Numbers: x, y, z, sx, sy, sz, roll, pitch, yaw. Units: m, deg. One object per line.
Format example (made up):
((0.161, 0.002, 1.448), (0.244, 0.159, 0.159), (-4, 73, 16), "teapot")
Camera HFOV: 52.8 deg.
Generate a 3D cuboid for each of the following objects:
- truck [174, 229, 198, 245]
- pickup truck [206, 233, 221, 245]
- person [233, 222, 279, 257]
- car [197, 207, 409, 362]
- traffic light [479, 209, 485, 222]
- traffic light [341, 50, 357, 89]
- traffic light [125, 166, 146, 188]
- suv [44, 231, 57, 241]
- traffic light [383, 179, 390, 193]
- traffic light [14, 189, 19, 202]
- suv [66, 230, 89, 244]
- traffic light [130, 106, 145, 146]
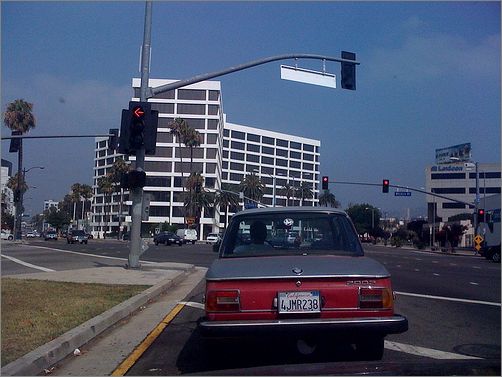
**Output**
((-8.326, 6.322, 65.326), (1.522, 1.496, 2.709), (1, 4, -25), "truck")
((-5.093, 6.705, 67.403), (1.569, 1.246, 3.452), (0, -7, 5), "pickup truck")
((0.050, 0.848, 8.058), (0.800, 0.613, 0.422), (1, 4, -6), "person")
((0.652, 1.417, 7.403), (2.559, 2.260, 1.232), (0, -3, 3), "car")
((16.111, 1.967, 36.229), (0.383, 0.970, 1.646), (-1, -4, 23), "traffic light")
((3.408, -4.223, 18.194), (0.543, 1.390, 0.367), (1, -3, -7), "traffic light")
((-4.163, -0.333, 18.190), (0.694, 0.699, 0.510), (1, -3, -6), "traffic light")
((-29.498, 7.065, 75.142), (1.430, 1.534, 3.028), (2, -10, -20), "suv")
((10.255, -0.133, 39.508), (0.541, 0.962, 0.211), (2, -3, -28), "traffic light")
((-20.505, 0.683, 44.715), (0.422, 1.079, 1.113), (2, -4, -24), "traffic light")
((-18.008, 5.108, 52.556), (1.156, 1.003, 2.085), (0, 8, -20), "suv")
((-3.942, -2.178, 17.602), (0.486, 1.654, 0.406), (3, -17, -20), "traffic light")
